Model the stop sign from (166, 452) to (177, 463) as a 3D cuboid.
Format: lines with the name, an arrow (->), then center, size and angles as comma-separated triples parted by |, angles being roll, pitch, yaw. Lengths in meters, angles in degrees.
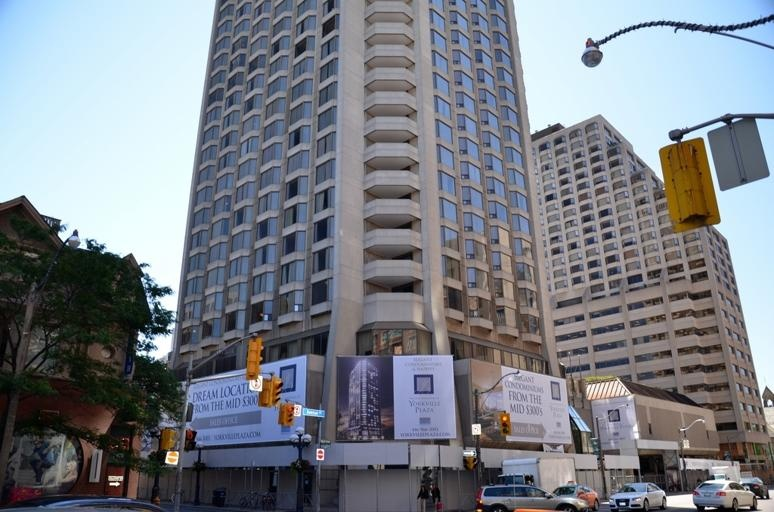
stop sign -> -12.150, 11.316, 30.466 | 0.381, 0.656, 0.877 | 0, -26, -1

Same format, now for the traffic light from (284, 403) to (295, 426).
traffic light -> -6.025, 9.536, 32.976 | 0.584, 1.309, 0.985 | 4, -27, -10

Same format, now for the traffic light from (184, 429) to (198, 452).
traffic light -> -11.478, 10.658, 31.398 | 0.634, 1.132, 1.475 | 9, -28, -19
